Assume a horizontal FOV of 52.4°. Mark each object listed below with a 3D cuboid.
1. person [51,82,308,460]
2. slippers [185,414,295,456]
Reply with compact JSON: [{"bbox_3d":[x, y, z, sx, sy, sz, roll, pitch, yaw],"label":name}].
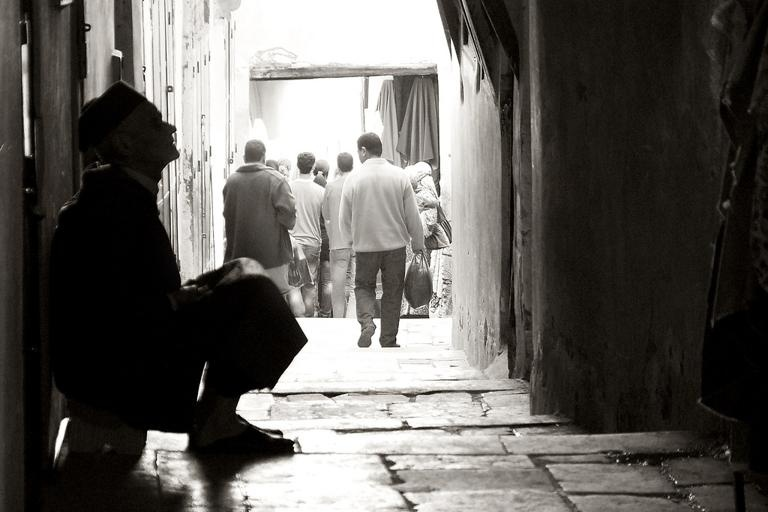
[{"bbox_3d":[-0.963,0.098,3.639,1.158,1.649,0.817,-1,-2,-36],"label":"person"},{"bbox_3d":[-0.613,0.774,3.497,0.361,0.133,0.204,1,-6,-7],"label":"slippers"}]
